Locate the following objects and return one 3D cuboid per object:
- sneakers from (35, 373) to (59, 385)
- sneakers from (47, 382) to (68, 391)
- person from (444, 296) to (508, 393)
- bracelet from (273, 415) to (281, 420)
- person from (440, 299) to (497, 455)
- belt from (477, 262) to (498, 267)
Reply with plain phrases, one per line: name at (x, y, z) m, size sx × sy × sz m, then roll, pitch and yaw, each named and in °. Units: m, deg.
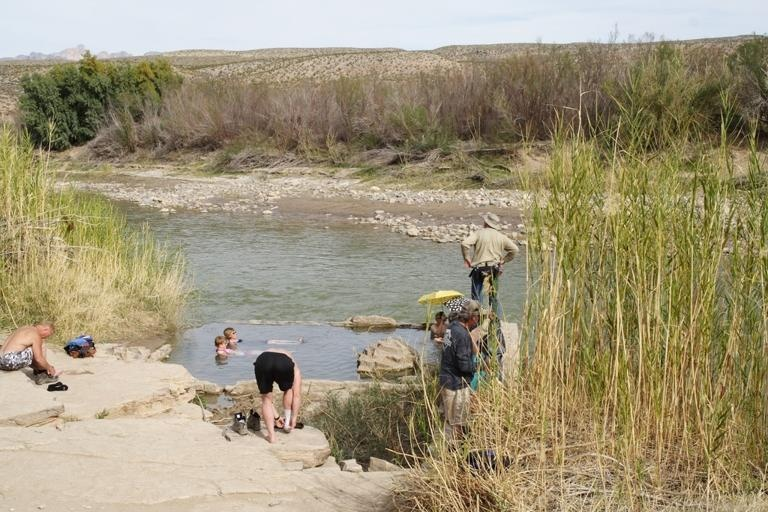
sneakers at (-4.775, 1.753, 12.172) m, size 0.363 × 0.164 × 0.132 m, roll -2°, pitch 9°, yaw -18°
sneakers at (-4.573, 1.848, 12.056) m, size 0.178 × 0.071 × 0.130 m, roll -1°, pitch 10°, yaw -22°
person at (1.197, 1.186, 11.431) m, size 0.830 × 1.242 × 0.742 m, roll -12°, pitch 20°, yaw -16°
bracelet at (-1.438, 2.167, 11.510) m, size 0.140 × 0.046 × 0.191 m, roll 0°, pitch -8°, yaw 4°
person at (0.991, 1.465, 11.200) m, size 0.555 × 1.734 × 0.936 m, roll -1°, pitch 6°, yaw 4°
belt at (1.690, 0.138, 13.909) m, size 0.328 × 0.086 × 0.304 m, roll -1°, pitch 5°, yaw 5°
